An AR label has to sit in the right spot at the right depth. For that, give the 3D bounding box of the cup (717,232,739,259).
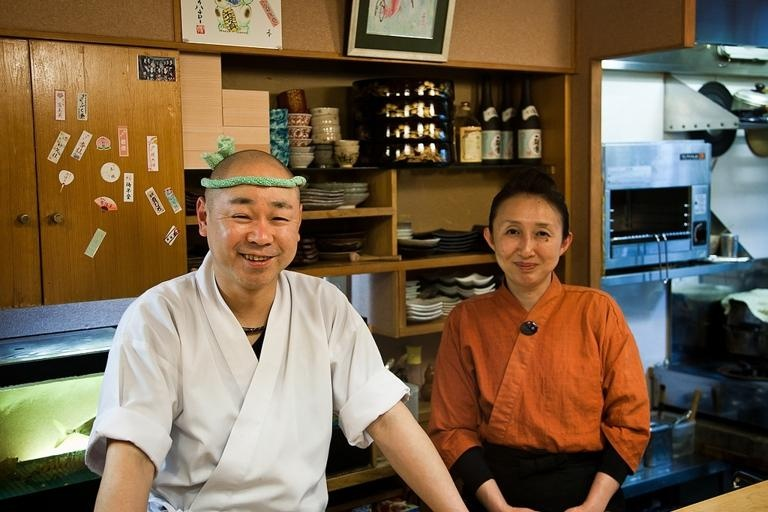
[{"bbox_3d":[2.383,-0.076,4.054,0.116,0.154,0.105,-2,10,23],"label":"cup"}]

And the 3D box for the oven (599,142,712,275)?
[{"bbox_3d":[1.656,-0.341,3.849,0.884,0.739,0.483,-6,8,-19],"label":"oven"}]

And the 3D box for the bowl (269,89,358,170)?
[{"bbox_3d":[-0.417,-0.655,3.118,0.348,0.352,0.479,0,2,-34],"label":"bowl"}]
